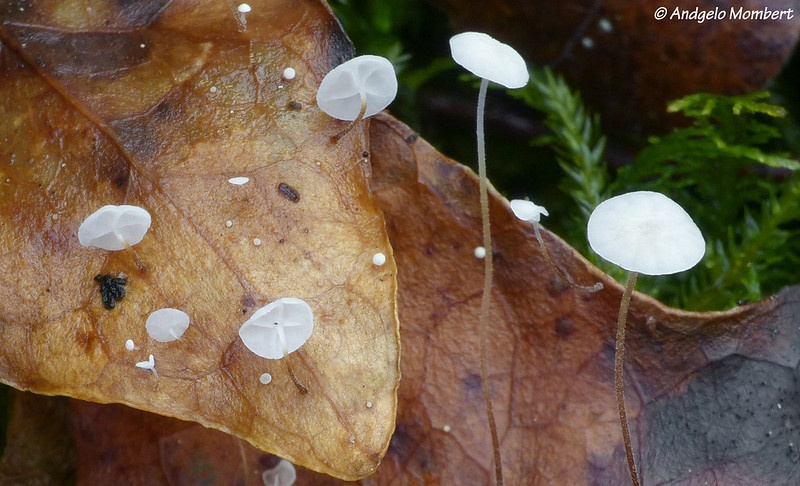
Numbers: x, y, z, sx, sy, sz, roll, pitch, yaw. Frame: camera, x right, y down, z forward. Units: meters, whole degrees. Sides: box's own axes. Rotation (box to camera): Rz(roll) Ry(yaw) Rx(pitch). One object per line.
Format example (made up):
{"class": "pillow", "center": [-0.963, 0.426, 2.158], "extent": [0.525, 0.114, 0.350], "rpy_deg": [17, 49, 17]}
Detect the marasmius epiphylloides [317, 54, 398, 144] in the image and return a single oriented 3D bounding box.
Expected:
{"class": "marasmius epiphylloides", "center": [-0.208, -0.730, 5.084], "extent": [0.390, 0.151, 0.243], "rpy_deg": [-33, 75, -13]}

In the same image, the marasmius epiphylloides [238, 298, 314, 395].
{"class": "marasmius epiphylloides", "center": [-0.563, 0.391, 4.871], "extent": [0.337, 0.089, 0.226], "rpy_deg": [-22, 73, -10]}

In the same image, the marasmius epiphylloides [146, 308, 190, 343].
{"class": "marasmius epiphylloides", "center": [-1.070, 0.380, 4.925], "extent": [0.192, 0.069, 0.132], "rpy_deg": [-2, 70, -3]}
